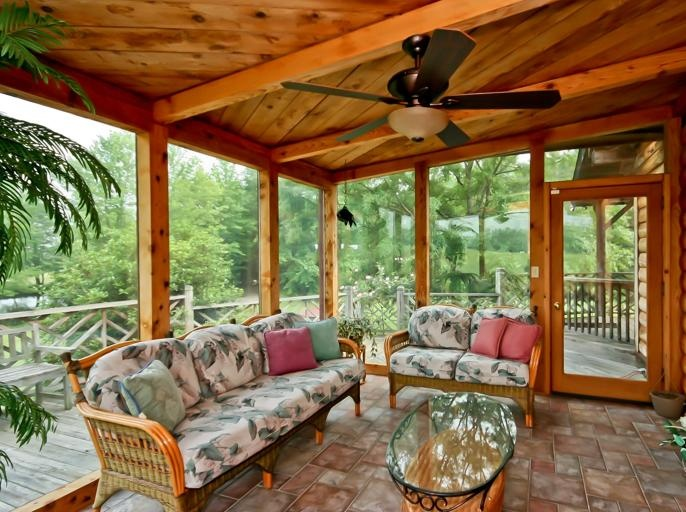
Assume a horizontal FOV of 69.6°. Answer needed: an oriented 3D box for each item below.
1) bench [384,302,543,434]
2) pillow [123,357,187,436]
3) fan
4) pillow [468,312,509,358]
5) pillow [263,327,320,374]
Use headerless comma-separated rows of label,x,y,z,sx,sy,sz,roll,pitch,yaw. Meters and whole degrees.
bench,1.311,1.019,5.280,2.320,1.034,1.168,-2,-6,23
pillow,-1.297,0.989,3.447,0.306,0.413,0.411,0,14,6
fan,0.622,-1.051,3.306,1.209,0.334,1.132,-4,-12,33
pillow,1.447,0.803,4.934,0.148,0.349,0.440,30,-11,-22
pillow,-0.491,0.876,4.534,0.560,0.295,0.222,-3,-4,-26
